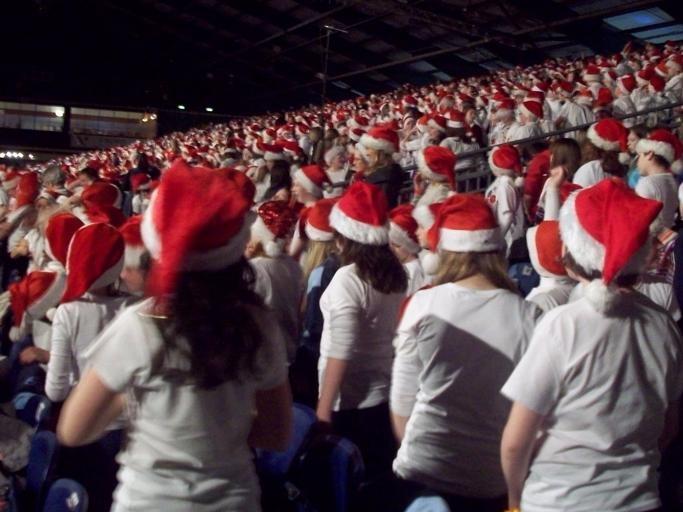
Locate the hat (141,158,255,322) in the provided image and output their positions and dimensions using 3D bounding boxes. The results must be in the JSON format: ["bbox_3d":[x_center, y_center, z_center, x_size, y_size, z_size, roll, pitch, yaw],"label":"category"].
[{"bbox_3d":[-0.344,-0.041,1.293,0.263,0.362,0.195,0,0,-16],"label":"hat"}]
